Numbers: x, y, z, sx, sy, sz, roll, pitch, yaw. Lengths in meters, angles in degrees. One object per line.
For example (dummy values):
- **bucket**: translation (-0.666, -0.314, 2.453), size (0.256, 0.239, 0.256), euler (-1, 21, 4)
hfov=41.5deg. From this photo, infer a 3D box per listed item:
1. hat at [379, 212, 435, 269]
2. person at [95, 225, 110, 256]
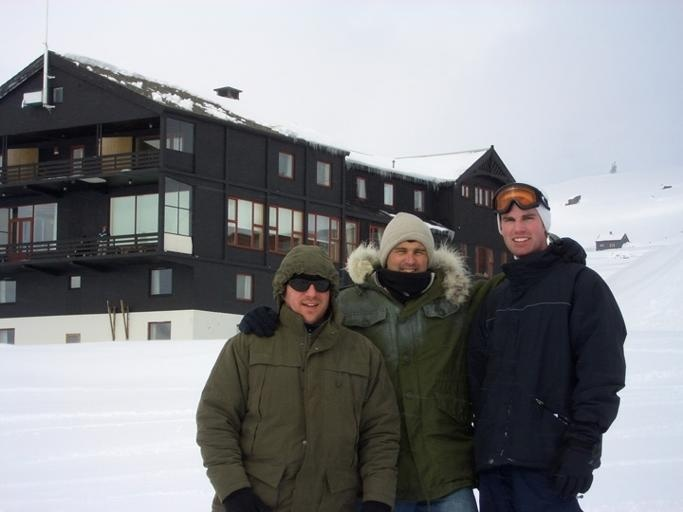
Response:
- **hat**: translation (0.643, -0.149, 9.054), size (0.464, 0.507, 0.517), euler (3, -11, -7)
- **person**: translation (-7.513, -0.502, 28.344), size (0.388, 0.835, 1.233), euler (-1, 6, -15)
